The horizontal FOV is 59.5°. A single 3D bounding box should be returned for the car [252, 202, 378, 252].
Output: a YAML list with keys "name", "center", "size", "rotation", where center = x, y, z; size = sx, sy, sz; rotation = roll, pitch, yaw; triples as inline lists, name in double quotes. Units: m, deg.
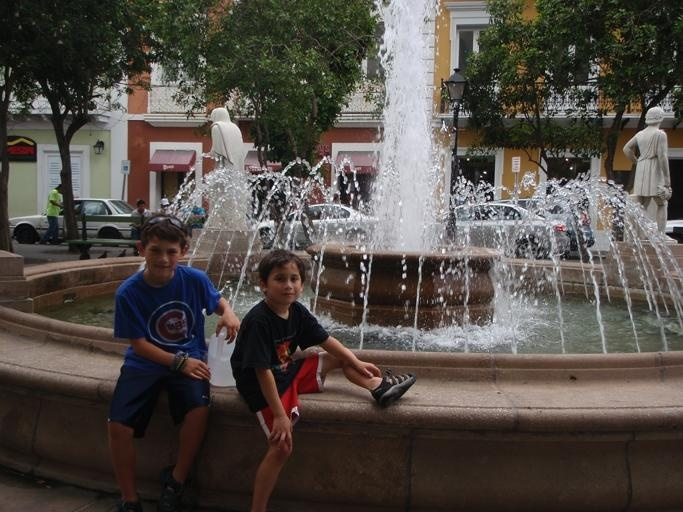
- name: "car"
  center: [-0.831, -0.973, 19.490]
  size: [3.585, 1.384, 1.618]
  rotation: [2, 1, 1]

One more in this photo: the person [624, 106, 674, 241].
- name: "person"
  center: [5.267, -1.510, 10.305]
  size: [0.702, 2.238, 1.196]
  rotation: [2, 2, 29]

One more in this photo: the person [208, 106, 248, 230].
- name: "person"
  center: [-2.241, -1.804, 12.135]
  size: [0.810, 2.551, 1.138]
  rotation: [1, 2, -12]

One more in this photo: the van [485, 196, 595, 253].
- name: "van"
  center: [6.207, -1.107, 18.229]
  size: [3.508, 1.513, 1.741]
  rotation: [2, -1, 9]

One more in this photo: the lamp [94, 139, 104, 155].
- name: "lamp"
  center: [-11.510, -5.210, 28.603]
  size: [0.507, 0.712, 0.733]
  rotation: [0, 2, -24]

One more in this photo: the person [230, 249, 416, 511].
- name: "person"
  center: [-0.055, 0.844, 4.064]
  size: [0.731, 0.995, 1.299]
  rotation: [2, 16, 27]
